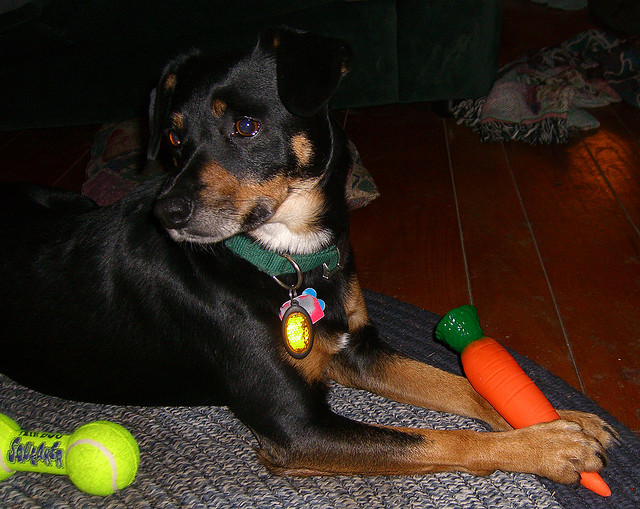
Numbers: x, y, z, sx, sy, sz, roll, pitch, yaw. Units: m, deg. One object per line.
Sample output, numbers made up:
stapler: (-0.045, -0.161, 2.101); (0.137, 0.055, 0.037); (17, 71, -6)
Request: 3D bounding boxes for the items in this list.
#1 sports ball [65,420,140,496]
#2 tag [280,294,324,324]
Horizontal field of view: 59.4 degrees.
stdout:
sports ball: (-0.625, 0.615, 1.814); (0.248, 0.219, 0.228); (6, 28, -3)
tag: (-0.061, 0.181, 1.857); (0.120, 0.030, 0.082); (30, 61, -4)
